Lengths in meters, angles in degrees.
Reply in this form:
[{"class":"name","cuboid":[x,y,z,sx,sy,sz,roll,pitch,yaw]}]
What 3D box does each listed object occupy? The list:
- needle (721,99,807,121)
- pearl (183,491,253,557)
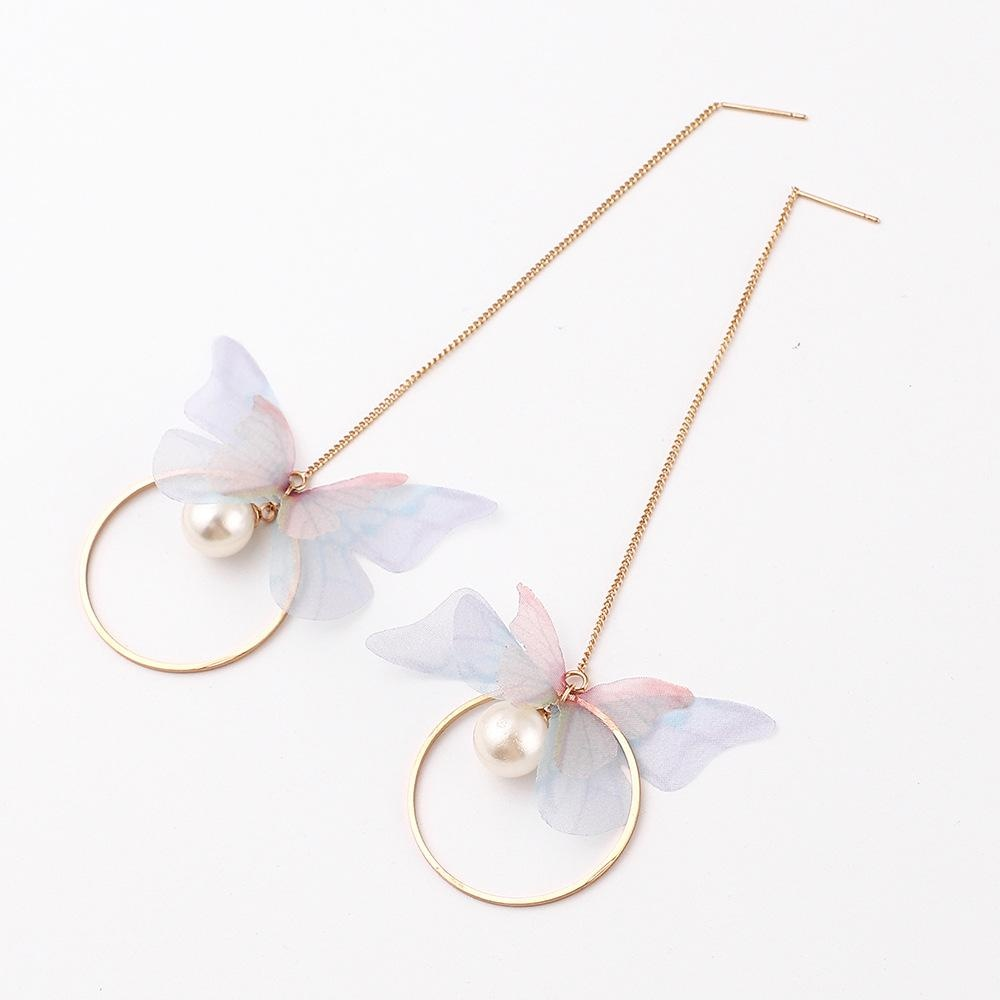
[{"class":"needle","cuboid":[0.739,-1.085,3.585,0.264,0.025,0.022,11,-2,11]},{"class":"pearl","cuboid":[-0.610,0.055,2.790,0.130,0.127,0.145,-8,-23,-31]}]
